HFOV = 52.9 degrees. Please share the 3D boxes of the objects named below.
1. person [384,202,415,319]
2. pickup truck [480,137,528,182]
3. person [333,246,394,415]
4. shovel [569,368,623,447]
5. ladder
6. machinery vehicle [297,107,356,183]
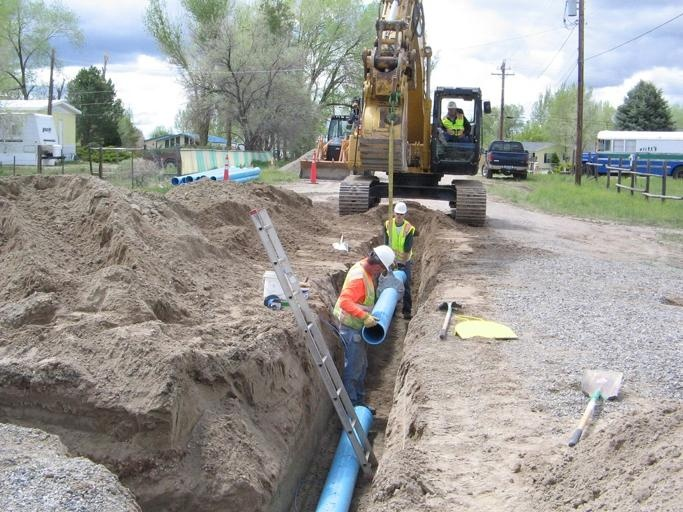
[{"bbox_3d":[0.975,0.129,11.880,0.546,2.055,0.759,2,11,1],"label":"person"},{"bbox_3d":[7.783,-4.608,33.507,1.782,1.703,3.703,2,17,3],"label":"pickup truck"},{"bbox_3d":[0.158,0.976,9.464,0.826,2.339,1.124,0,2,9],"label":"person"},{"bbox_3d":[2.586,1.442,6.923,0.412,0.373,1.326,4,11,24],"label":"shovel"},{"bbox_3d":[-0.256,1.122,7.565,0.483,3.407,1.640,7,12,36],"label":"ladder"},{"bbox_3d":[-0.177,-4.728,29.228,1.639,2.751,4.732,3,8,10],"label":"machinery vehicle"}]
